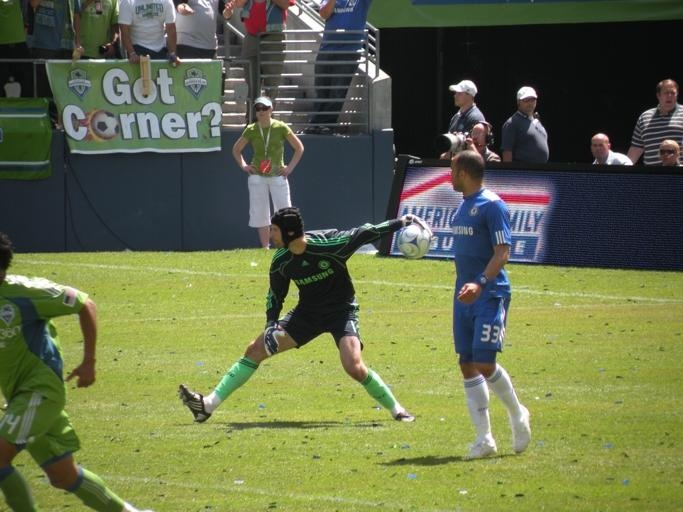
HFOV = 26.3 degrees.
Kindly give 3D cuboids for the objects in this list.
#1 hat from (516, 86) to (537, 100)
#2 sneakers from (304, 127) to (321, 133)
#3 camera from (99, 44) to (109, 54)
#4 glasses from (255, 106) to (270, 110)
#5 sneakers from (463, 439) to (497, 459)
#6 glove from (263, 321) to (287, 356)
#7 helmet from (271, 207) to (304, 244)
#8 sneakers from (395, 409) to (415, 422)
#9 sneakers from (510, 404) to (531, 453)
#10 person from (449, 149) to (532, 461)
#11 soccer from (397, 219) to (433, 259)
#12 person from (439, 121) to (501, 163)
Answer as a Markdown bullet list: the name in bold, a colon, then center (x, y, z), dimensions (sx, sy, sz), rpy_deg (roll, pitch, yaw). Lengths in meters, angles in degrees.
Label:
- **hat**: center (3.298, -2.921, 26.322), dimensions (0.294, 0.207, 0.201), rpy_deg (2, 7, 13)
- **sneakers**: center (-0.629, -2.581, 30.035), dimensions (0.187, 0.068, 0.184), rpy_deg (-3, 18, -6)
- **camera**: center (-4.670, -4.057, 28.663), dimensions (0.066, 0.156, 0.484), rpy_deg (-2, 7, -25)
- **glasses**: center (-1.449, -2.681, 26.740), dimensions (0.263, 0.078, 0.168), rpy_deg (-1, 7, -13)
- **sneakers**: center (1.738, 2.460, 18.460), dimensions (0.466, 0.194, 0.170), rpy_deg (-3, 2, -12)
- **glove**: center (-0.942, 1.114, 19.488), dimensions (0.153, 0.416, 0.309), rpy_deg (2, -38, 29)
- **helmet**: center (-0.733, -0.411, 19.379), dimensions (0.529, 0.498, 0.419), rpy_deg (-7, 6, -27)
- **sneakers**: center (0.826, 2.140, 19.529), dimensions (0.227, 0.094, 0.151), rpy_deg (5, -1, 21)
- **sneakers**: center (2.247, 2.226, 18.664), dimensions (0.268, 0.609, 0.219), rpy_deg (-2, 6, -22)
- **person**: center (1.842, 0.601, 18.679), dimensions (0.851, 3.847, 0.868), rpy_deg (0, 7, -9)
- **soccer**: center (0.966, -0.137, 20.478), dimensions (0.548, 0.623, 0.533), rpy_deg (-6, -13, 8)
- **person**: center (2.169, -1.956, 25.082), dimensions (0.813, 0.592, 1.293), rpy_deg (4, 8, 30)
